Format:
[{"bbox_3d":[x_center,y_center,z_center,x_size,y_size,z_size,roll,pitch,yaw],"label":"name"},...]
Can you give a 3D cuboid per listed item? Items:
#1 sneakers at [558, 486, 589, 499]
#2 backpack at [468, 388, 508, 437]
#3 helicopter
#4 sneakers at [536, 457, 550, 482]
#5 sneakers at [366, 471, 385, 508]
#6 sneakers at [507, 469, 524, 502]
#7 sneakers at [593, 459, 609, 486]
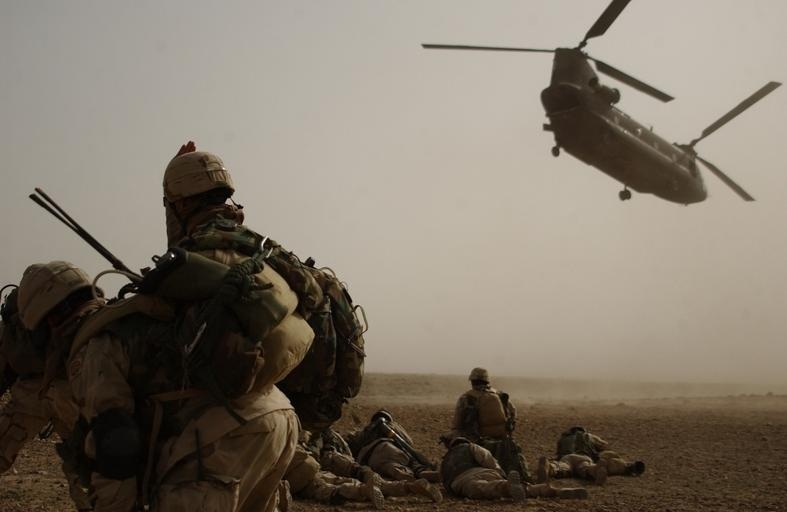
[{"bbox_3d":[1.897,2.504,8.287,0.349,0.135,0.166,0,0,2],"label":"sneakers"},{"bbox_3d":[1.210,1.955,9.725,0.378,0.606,0.578,-4,-7,-13],"label":"backpack"},{"bbox_3d":[5.295,-2.599,17.578,7.022,2.181,5.044,36,-32,-25],"label":"helicopter"},{"bbox_3d":[1.723,2.459,8.983,0.118,0.354,0.152,-2,-14,17],"label":"sneakers"},{"bbox_3d":[-0.183,2.451,8.132,0.113,0.390,0.159,-13,-17,-21],"label":"sneakers"},{"bbox_3d":[1.292,2.442,8.289,0.143,0.351,0.156,-5,-18,-12],"label":"sneakers"},{"bbox_3d":[2.416,2.535,9.158,0.102,0.257,0.113,-4,-22,15],"label":"sneakers"}]
